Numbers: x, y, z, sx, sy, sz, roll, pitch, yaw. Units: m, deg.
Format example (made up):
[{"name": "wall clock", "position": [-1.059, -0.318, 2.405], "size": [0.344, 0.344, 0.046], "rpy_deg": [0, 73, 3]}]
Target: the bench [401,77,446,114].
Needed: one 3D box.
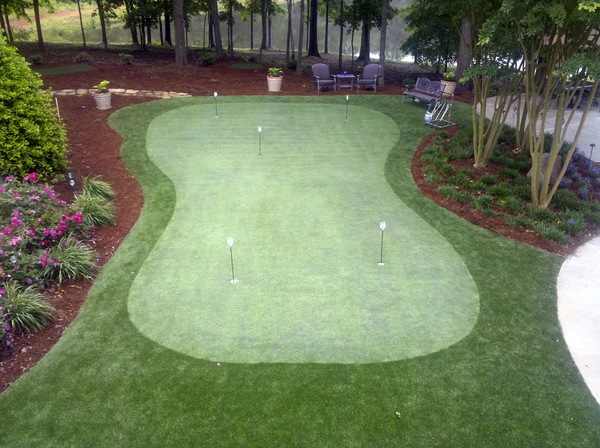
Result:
[{"name": "bench", "position": [5.626, -5.728, 24.758], "size": [0.761, 1.402, 1.962], "rpy_deg": [-16, 29, -27]}]

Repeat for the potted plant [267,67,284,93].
[{"name": "potted plant", "position": [-1.285, -7.170, 27.509], "size": [0.705, 1.039, 1.459], "rpy_deg": [0, 25, -5]}]

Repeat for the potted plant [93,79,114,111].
[{"name": "potted plant", "position": [-8.522, -5.542, 23.334], "size": [0.881, 1.197, 0.942], "rpy_deg": [16, 28, 15]}]
